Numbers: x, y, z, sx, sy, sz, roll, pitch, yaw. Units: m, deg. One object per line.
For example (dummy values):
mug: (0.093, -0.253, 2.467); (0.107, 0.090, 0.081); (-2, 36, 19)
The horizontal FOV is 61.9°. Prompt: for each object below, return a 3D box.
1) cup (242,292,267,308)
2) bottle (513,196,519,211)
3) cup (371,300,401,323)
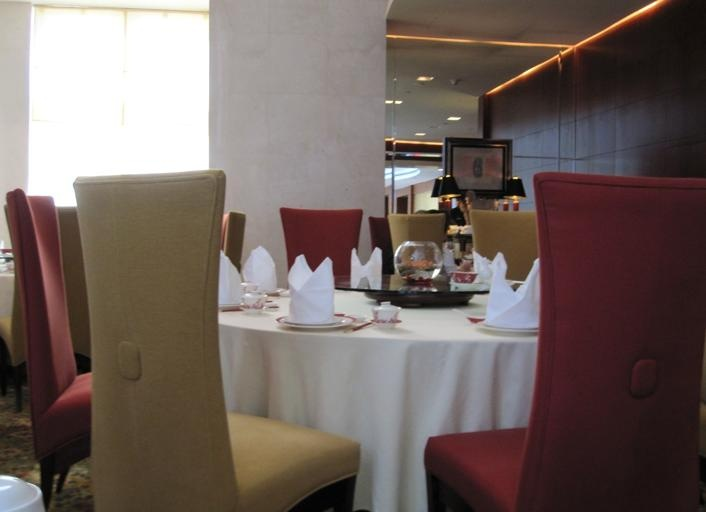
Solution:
cup: (-0.374, 0.159, 2.188); (0.067, 0.051, 0.059); (-1, 0, -9)
bottle: (1.830, -0.599, 6.598); (0.054, 0.058, 0.250); (-12, 47, 21)
cup: (0.114, 0.172, 1.946); (0.069, 0.055, 0.073); (1, 2, 0)
